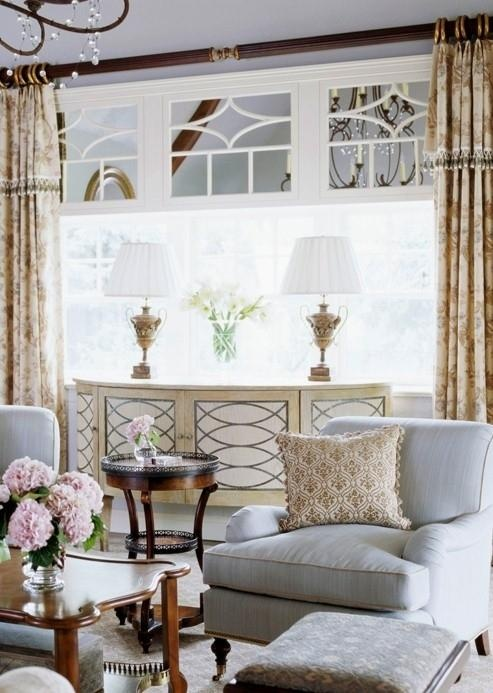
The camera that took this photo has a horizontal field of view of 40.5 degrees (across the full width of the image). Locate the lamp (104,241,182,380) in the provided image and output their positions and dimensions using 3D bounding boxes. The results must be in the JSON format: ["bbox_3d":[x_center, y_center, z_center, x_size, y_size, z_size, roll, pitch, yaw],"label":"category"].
[{"bbox_3d":[-0.563,-0.218,3.911,0.382,0.805,0.604,-3,3,5],"label":"lamp"}]

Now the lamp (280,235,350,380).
[{"bbox_3d":[0.407,-0.208,3.682,0.404,0.786,0.452,-3,3,3],"label":"lamp"}]

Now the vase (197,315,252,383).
[{"bbox_3d":[-0.153,-0.042,4.037,0.216,0.251,0.209,1,-1,37],"label":"vase"}]

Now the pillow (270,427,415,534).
[{"bbox_3d":[0.342,0.475,2.401,0.472,0.354,0.168,-3,-13,12],"label":"pillow"}]

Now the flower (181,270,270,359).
[{"bbox_3d":[-0.101,-0.177,3.896,0.475,0.455,0.468,1,5,1],"label":"flower"}]

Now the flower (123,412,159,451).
[{"bbox_3d":[-0.444,0.359,2.845,0.120,0.151,0.283,-3,3,-9],"label":"flower"}]
